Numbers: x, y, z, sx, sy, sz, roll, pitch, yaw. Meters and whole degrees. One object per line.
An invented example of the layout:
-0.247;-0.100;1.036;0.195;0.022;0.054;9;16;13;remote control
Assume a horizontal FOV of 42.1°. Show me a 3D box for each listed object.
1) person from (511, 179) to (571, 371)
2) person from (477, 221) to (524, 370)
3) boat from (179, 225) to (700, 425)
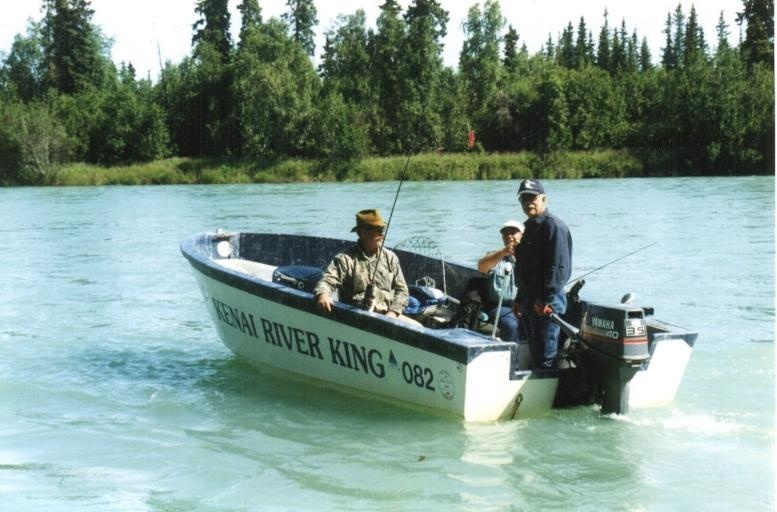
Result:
2.540;0.671;16.830;0.792;3.860;1.262;-1;6;-15;person
2.039;0.626;17.016;0.719;2.349;0.747;5;-1;-14;person
0.521;1.109;17.727;9.296;2.439;2.708;4;13;22;boat
